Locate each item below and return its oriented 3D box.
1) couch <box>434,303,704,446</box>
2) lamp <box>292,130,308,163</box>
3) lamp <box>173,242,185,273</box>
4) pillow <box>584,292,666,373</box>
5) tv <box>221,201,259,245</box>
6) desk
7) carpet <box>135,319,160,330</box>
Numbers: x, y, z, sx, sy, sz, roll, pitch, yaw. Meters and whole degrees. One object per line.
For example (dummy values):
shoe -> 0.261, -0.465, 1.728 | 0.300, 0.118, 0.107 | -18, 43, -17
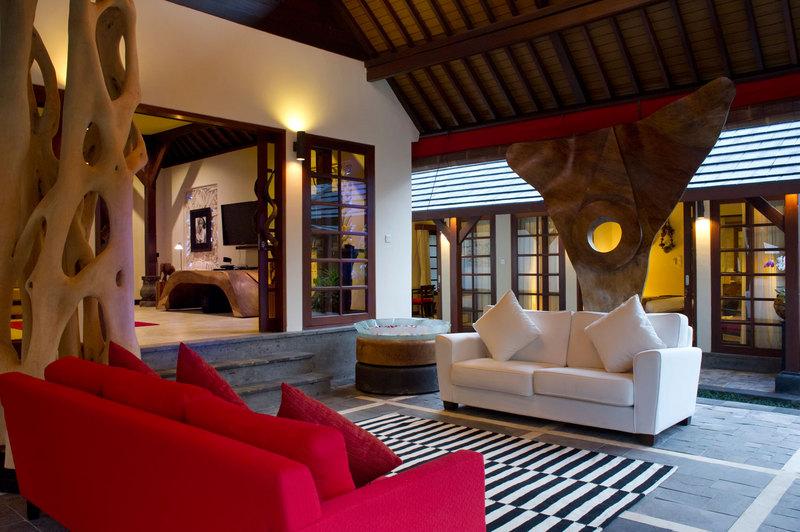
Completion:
couch -> 1.692, 1.088, 5.649 | 2.495, 1.197, 1.146 | -3, -5, 42
lamp -> -1.318, -1.578, 6.932 | 0.197, 0.392, 0.190 | -1, 4, -19
lamp -> -5.191, -0.245, 12.355 | 0.165, 0.587, 0.433 | -2, 4, -30
pillow -> 2.182, 0.662, 5.086 | 0.710, 0.710, 0.479 | 1, 4, 23
tv -> -3.170, -0.871, 10.451 | 0.156, 0.825, 1.118 | 2, -3, -43
desk -> -3.429, 0.460, 9.499 | 1.085, 0.821, 3.029 | -3, 4, -40
carpet -> -3.739, 0.836, 7.739 | 0.307, 0.059, 0.893 | -2, 3, -26
